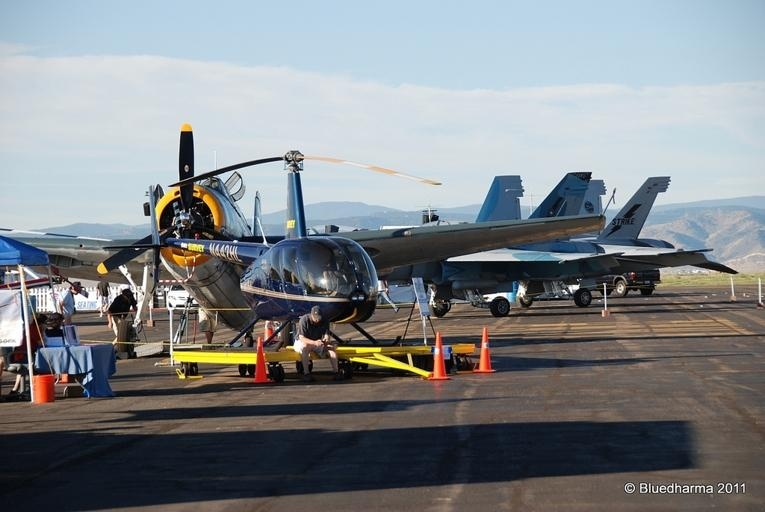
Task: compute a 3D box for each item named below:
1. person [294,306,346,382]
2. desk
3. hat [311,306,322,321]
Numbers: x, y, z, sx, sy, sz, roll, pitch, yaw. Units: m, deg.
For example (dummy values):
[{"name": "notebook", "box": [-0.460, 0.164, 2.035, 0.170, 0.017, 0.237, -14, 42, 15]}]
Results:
[{"name": "person", "box": [-1.409, 1.838, 16.617, 0.941, 1.212, 0.981, -4, 2, -4]}, {"name": "desk", "box": [-6.054, 2.281, 15.654, 1.502, 0.704, 1.297, 0, 1, 16]}, {"name": "hat", "box": [-1.378, 1.192, 16.251, 0.225, 0.254, 0.280, -4, 2, -8]}]
